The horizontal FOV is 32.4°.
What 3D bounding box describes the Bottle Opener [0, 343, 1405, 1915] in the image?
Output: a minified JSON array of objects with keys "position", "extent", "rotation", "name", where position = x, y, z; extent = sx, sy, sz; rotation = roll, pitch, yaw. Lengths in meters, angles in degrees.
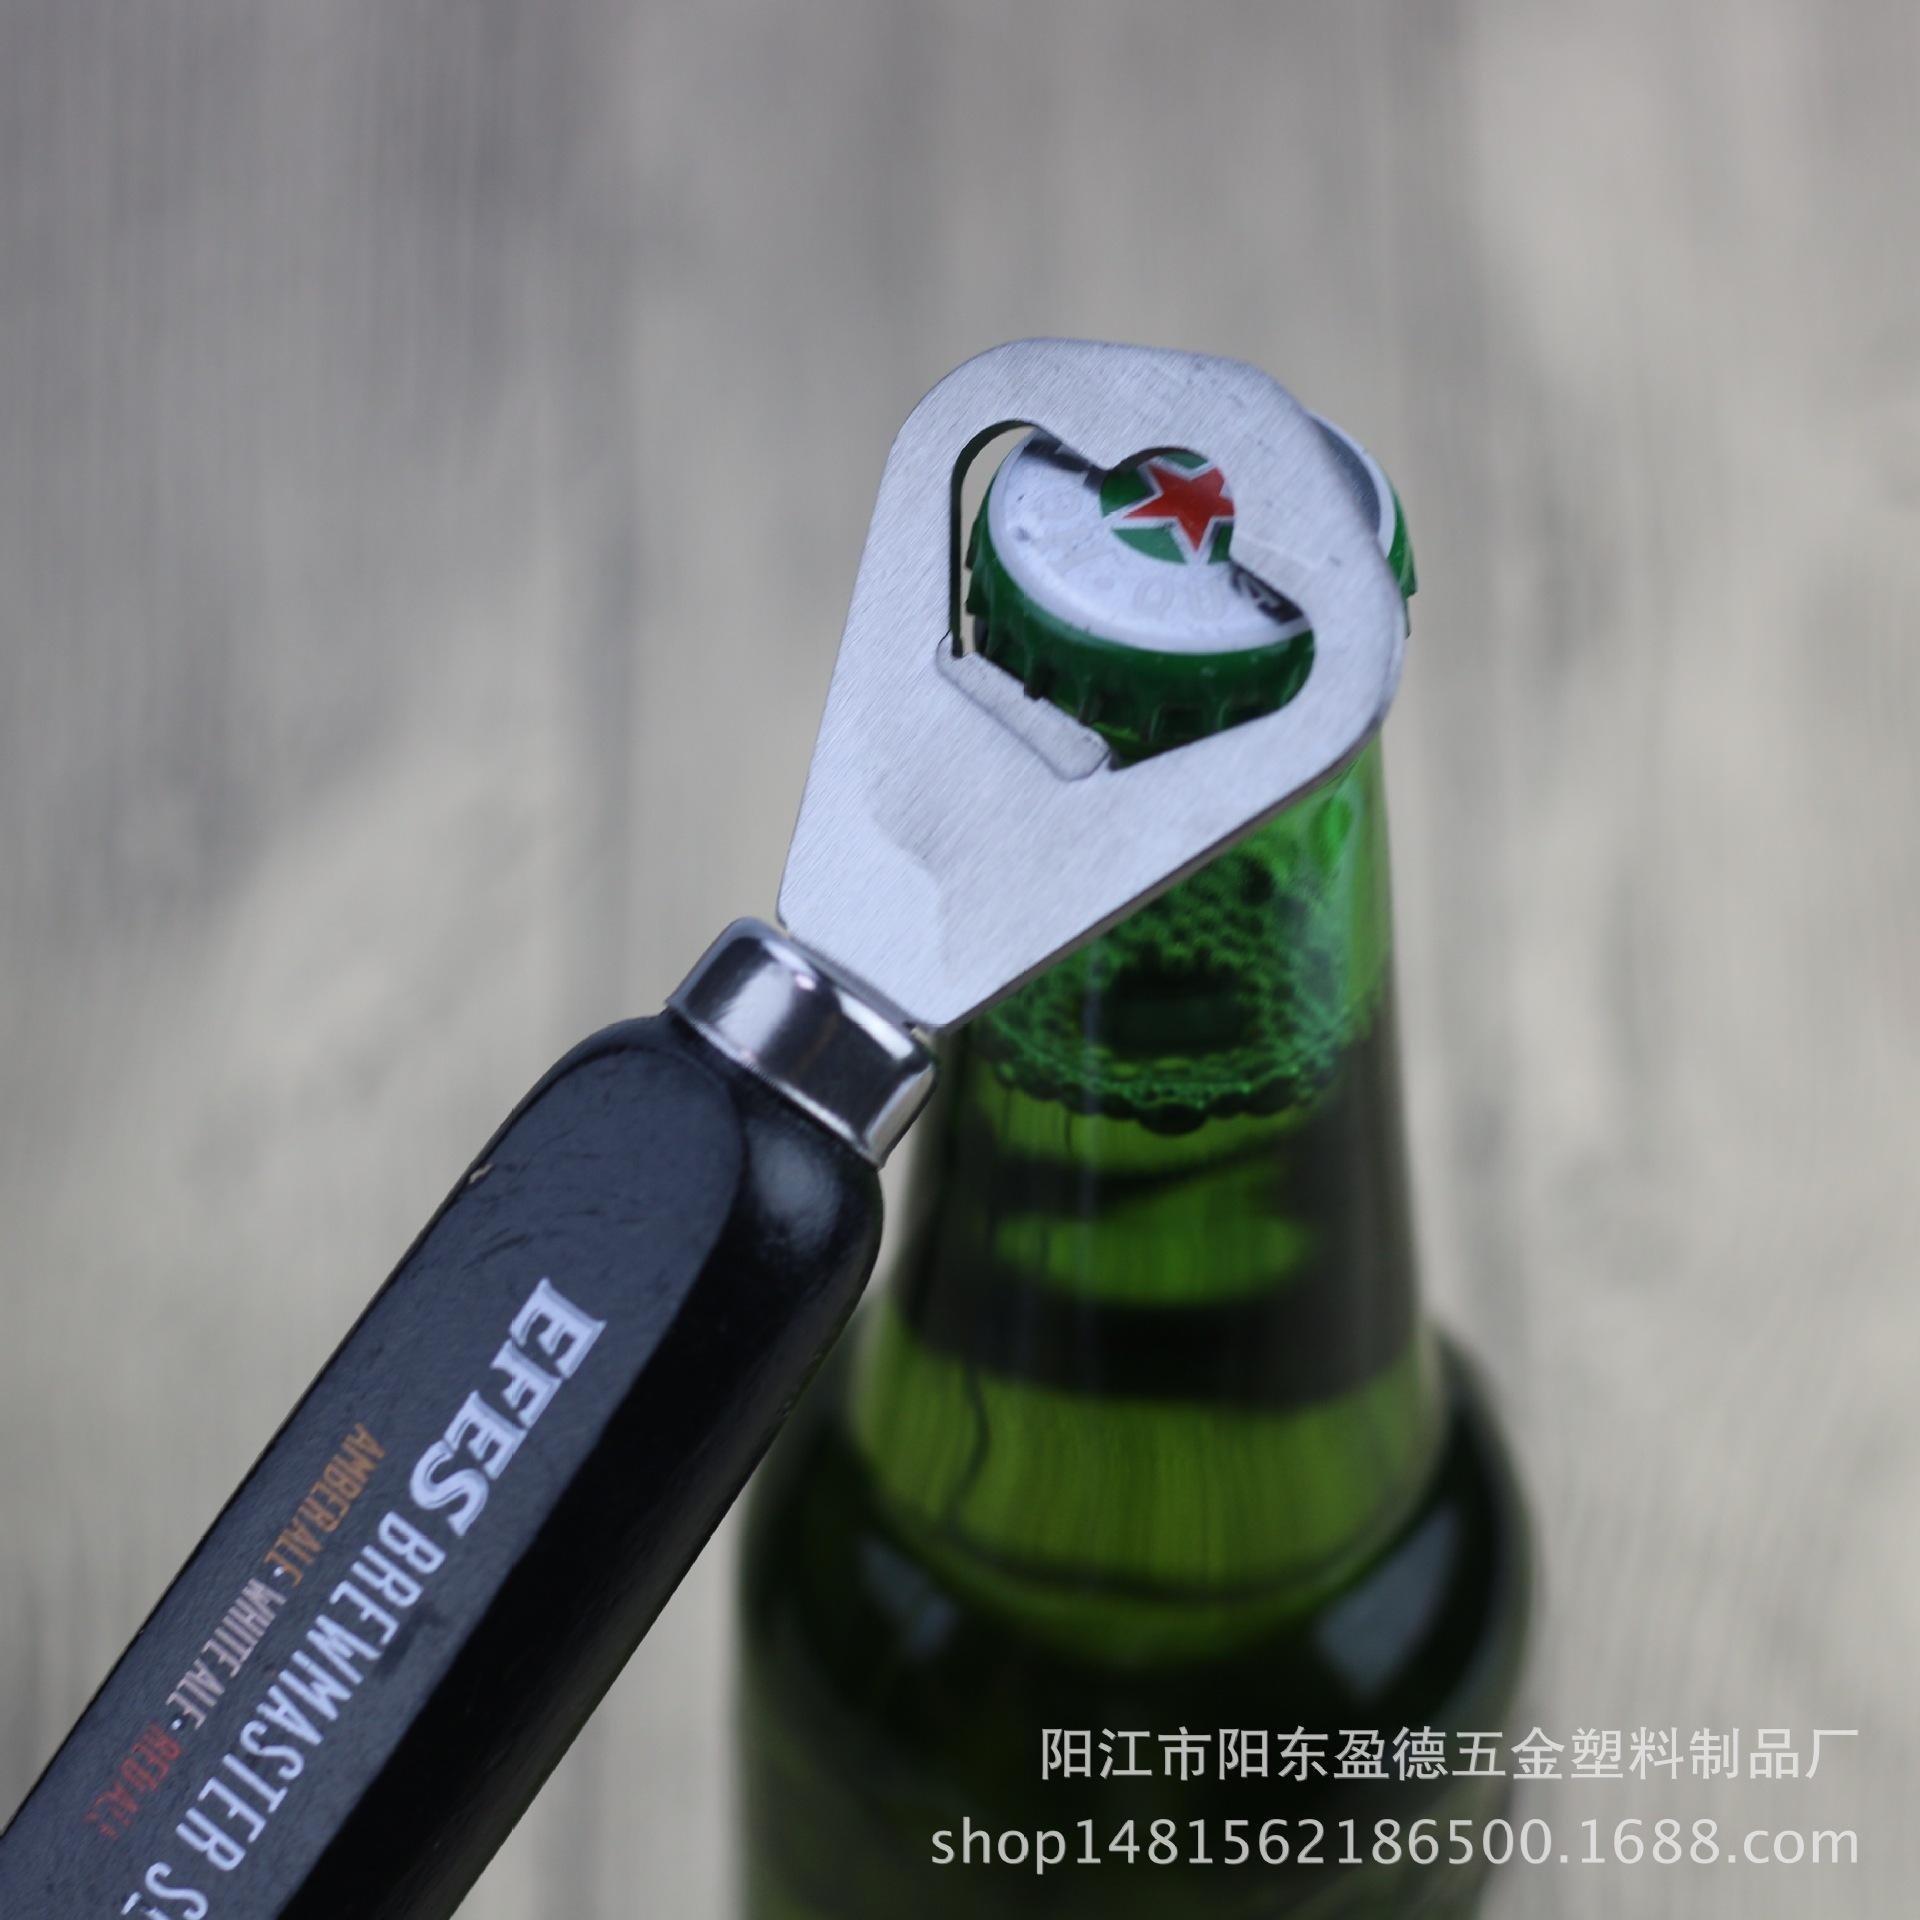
[{"position":[-0.063,0.055,0.884],"extent":[0.167,0.161,0.572],"rotation":[33,94,28],"name":"Bottle Opener"}]
